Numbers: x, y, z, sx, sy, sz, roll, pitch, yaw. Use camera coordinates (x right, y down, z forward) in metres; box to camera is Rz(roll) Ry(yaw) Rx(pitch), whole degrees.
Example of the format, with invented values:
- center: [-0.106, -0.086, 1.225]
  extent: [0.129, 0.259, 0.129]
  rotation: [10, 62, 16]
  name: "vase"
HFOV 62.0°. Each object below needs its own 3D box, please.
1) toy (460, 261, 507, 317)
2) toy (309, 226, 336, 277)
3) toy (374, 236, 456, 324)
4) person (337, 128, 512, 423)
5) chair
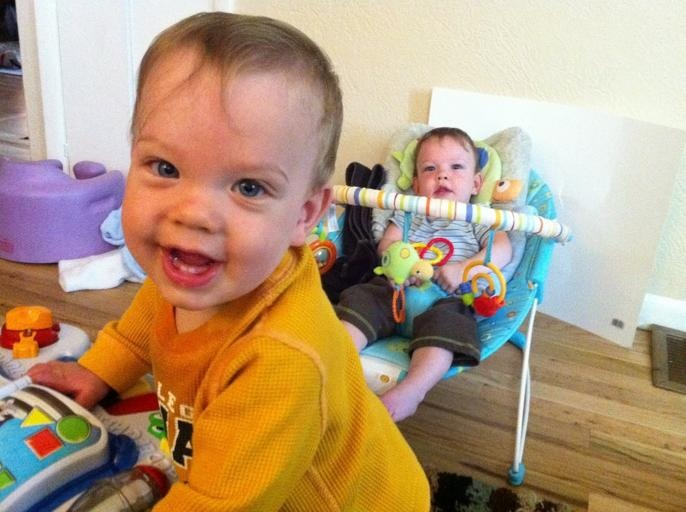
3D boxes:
- center: [0.394, 0.099, 1.614]
  extent: [0.059, 0.170, 0.126]
  rotation: [-13, 15, -34]
  name: "toy"
- center: [-0.056, -0.017, 1.757]
  extent: [0.037, 0.132, 0.128]
  rotation: [7, 5, 6]
  name: "toy"
- center: [0.191, 0.038, 1.627]
  extent: [0.286, 0.145, 0.180]
  rotation: [-36, 25, -31]
  name: "toy"
- center: [0.286, 0.010, 1.707]
  extent: [0.449, 0.695, 0.918]
  rotation: [12, 30, 19]
  name: "person"
- center: [0.428, 0.233, 1.775]
  extent: [0.649, 0.757, 0.810]
  rotation: [9, 34, 24]
  name: "chair"
